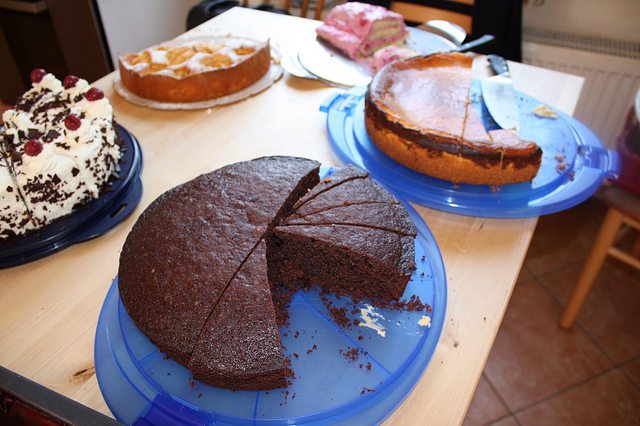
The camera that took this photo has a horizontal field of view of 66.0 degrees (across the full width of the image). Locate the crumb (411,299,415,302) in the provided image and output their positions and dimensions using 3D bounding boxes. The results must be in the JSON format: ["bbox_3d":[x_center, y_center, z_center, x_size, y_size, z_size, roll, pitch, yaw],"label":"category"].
[{"bbox_3d":[0.469,0.440,2.492,0.009,0.002,0.010,3,48,6],"label":"crumb"}]

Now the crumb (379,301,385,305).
[{"bbox_3d":[0.322,0.459,2.529,0.015,0.004,0.015,-2,30,3],"label":"crumb"}]

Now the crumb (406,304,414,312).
[{"bbox_3d":[0.453,0.474,2.470,0.024,0.006,0.025,3,64,20],"label":"crumb"}]

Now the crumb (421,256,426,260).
[{"bbox_3d":[0.550,0.239,2.614,0.023,0.006,0.023,-18,55,4],"label":"crumb"}]

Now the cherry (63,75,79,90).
[{"bbox_3d":[-1.559,-0.802,3.103,0.080,0.043,0.080,44,63,14],"label":"cherry"}]

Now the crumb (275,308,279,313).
[{"bbox_3d":[-0.220,0.494,2.507,0.016,0.004,0.016,-2,49,-1],"label":"crumb"}]

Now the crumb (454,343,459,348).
[{"bbox_3d":[0.664,0.639,2.390,0.021,0.006,0.022,7,46,9],"label":"crumb"}]

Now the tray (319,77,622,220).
[{"bbox_3d":[0.993,-0.557,3.265,1.791,0.135,1.712,12,42,8],"label":"tray"}]

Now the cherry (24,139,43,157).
[{"bbox_3d":[-1.527,-0.343,2.618,0.082,0.083,0.084,-8,78,-6],"label":"cherry"}]

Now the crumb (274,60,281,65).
[{"bbox_3d":[-0.328,-1.150,3.779,0.039,0.010,0.040,3,51,-1],"label":"crumb"}]

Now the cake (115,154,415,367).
[{"bbox_3d":[-0.297,0.211,2.661,1.456,0.347,1.169,-26,50,-21],"label":"cake"}]

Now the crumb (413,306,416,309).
[{"bbox_3d":[0.473,0.470,2.469,0.014,0.015,0.003,-2,41,24],"label":"crumb"}]

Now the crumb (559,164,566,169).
[{"bbox_3d":[1.425,-0.272,2.885,0.031,0.008,0.027,9,47,11],"label":"crumb"}]

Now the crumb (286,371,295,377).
[{"bbox_3d":[-0.139,0.757,2.331,0.038,0.010,0.020,-10,46,-8],"label":"crumb"}]

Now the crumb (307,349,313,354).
[{"bbox_3d":[-0.050,0.671,2.392,0.021,0.022,0.005,-26,15,6],"label":"crumb"}]

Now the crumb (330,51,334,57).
[{"bbox_3d":[0.089,-1.219,3.803,0.028,0.011,0.037,-4,46,-1],"label":"crumb"}]

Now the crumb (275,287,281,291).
[{"bbox_3d":[-0.227,0.399,2.615,0.015,0.003,0.015,0,33,3],"label":"crumb"}]

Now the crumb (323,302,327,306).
[{"bbox_3d":[0.024,0.466,2.536,0.013,0.004,0.014,-11,64,9],"label":"crumb"}]

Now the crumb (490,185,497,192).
[{"bbox_3d":[1.009,-0.139,2.854,0.007,0.029,0.026,26,48,-3],"label":"crumb"}]

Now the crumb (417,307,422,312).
[{"bbox_3d":[0.498,0.478,2.462,0.019,0.005,0.019,15,83,8],"label":"crumb"}]

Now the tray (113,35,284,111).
[{"bbox_3d":[-0.900,-1.054,3.585,1.264,0.245,0.760,-6,46,-4],"label":"tray"}]

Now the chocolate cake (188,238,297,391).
[{"bbox_3d":[-0.488,0.485,2.748,0.636,0.271,1.124,2,35,0],"label":"chocolate cake"}]

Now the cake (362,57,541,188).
[{"bbox_3d":[0.749,-0.534,3.010,0.790,0.345,1.060,-15,41,-5],"label":"cake"}]

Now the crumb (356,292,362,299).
[{"bbox_3d":[0.202,0.430,2.577,0.020,0.005,0.021,-8,35,-11],"label":"crumb"}]
